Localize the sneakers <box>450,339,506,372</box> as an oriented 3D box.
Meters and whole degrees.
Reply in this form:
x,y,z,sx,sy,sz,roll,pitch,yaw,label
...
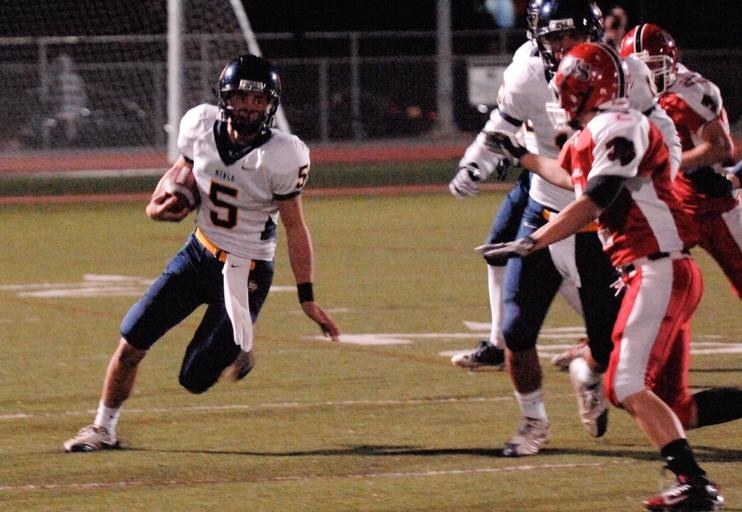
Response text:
x,y,z,sx,sy,sz,roll,pitch,yaw,label
0.681,0.644,6.477,0.422,0.136,0.139,1,11,1,sneakers

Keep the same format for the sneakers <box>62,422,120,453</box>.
x,y,z,sx,sy,sz,roll,pitch,yaw,label
-1.464,0.970,5.474,0.350,0.114,0.118,1,2,-13,sneakers

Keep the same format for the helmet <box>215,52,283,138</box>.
x,y,z,sx,sy,sz,roll,pitch,yaw,label
-0.664,-0.883,5.598,0.332,0.429,0.285,-3,10,-10,helmet

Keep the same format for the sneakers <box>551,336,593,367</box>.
x,y,z,sx,sy,sz,roll,pitch,yaw,label
1.220,0.586,6.306,0.313,0.111,0.173,-21,-30,31,sneakers

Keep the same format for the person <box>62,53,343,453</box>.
x,y,z,sx,sy,sz,roll,pitch,yaw,label
-0.773,-0.172,5.548,1.077,1.815,0.569,-2,10,-3,person

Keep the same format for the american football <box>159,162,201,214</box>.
x,y,z,sx,sy,sz,roll,pitch,yaw,label
-1.046,-0.374,5.627,0.109,0.251,0.201,24,-49,-39,american football

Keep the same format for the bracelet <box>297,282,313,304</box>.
x,y,z,sx,sy,sz,roll,pitch,yaw,label
-0.348,0.195,5.535,0.135,0.109,0.115,-2,-10,-10,bracelet

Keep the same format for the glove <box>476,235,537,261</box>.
x,y,z,sx,sy,sz,roll,pitch,yaw,label
0.643,-0.036,4.896,0.340,0.113,0.096,3,6,24,glove
